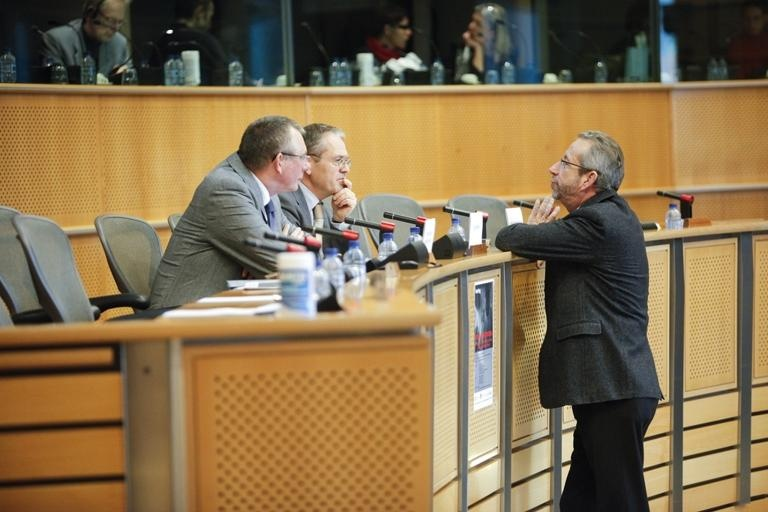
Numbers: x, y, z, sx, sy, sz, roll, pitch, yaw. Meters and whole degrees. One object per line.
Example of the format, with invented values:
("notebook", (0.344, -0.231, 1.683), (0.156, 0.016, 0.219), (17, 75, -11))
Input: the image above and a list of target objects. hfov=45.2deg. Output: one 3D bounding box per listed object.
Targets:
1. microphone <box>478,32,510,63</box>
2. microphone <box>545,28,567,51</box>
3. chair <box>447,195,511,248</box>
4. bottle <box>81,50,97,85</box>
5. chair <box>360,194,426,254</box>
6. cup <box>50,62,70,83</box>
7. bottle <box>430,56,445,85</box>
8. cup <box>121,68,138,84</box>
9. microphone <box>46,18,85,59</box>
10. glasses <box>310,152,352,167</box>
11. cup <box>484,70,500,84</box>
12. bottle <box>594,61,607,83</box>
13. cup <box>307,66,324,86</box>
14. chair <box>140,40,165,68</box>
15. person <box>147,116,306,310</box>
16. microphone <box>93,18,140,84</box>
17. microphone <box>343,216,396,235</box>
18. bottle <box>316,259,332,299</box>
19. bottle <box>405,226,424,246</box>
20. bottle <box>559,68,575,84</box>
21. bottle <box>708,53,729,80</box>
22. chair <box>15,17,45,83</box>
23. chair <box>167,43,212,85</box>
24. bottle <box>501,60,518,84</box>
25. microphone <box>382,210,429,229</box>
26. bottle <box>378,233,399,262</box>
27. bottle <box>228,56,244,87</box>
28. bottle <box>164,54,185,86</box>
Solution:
("microphone", (0.934, -1.730, 7.604), (0.276, 0.286, 0.202), (-1, 9, -31))
("microphone", (1.443, -1.827, 7.717), (0.156, 0.189, 0.048), (-4, 9, -7))
("chair", (0.669, -0.251, 6.468), (0.392, 0.495, 0.356), (-1, -5, -10))
("bottle", (-2.078, -1.320, 6.467), (0.114, 0.226, 0.217), (-6, 9, -17))
("chair", (0.040, -0.209, 6.151), (0.363, 0.473, 0.363), (-4, 1, -29))
("cup", (-2.223, -1.270, 6.325), (0.128, 0.139, 0.102), (-1, 5, 0))
("bottle", (0.431, -1.489, 7.462), (0.134, 0.173, 0.091), (-5, 9, -12))
("cup", (-1.818, -1.294, 6.594), (0.104, 0.105, 0.106), (-1, 5, 0))
("microphone", (-2.262, -1.541, 6.530), (0.308, 0.257, 0.163), (-1, -3, -42))
("glasses", (-0.314, -0.564, 5.366), (0.247, 0.095, 0.105), (-6, 9, -17))
("cup", (0.872, -1.476, 7.510), (0.133, 0.120, 0.065), (-5, 9, -8))
("bottle", (1.804, -1.555, 7.700), (0.113, 0.192, 0.140), (-1, 9, 13))
("cup", (-0.526, -1.397, 7.124), (0.127, 0.143, 0.130), (0, 10, 0))
("chair", (-1.701, -1.502, 6.803), (0.211, 0.212, 0.125), (0, 4, 3))
("person", (-0.841, -0.243, 4.894), (0.825, 0.960, 0.353), (-2, 9, 9))
("microphone", (-1.941, -1.497, 6.643), (0.146, 0.435, 0.321), (-2, 3, 29))
("microphone", (-0.093, -0.188, 5.357), (0.255, 0.078, 0.076), (12, 18, 3))
("bottle", (-0.267, 0.116, 4.031), (0.067, 0.125, 0.124), (-4, 9, -5))
("bottle", (0.158, -0.111, 4.863), (0.088, 0.159, 0.090), (-1, -1, 0))
("bottle", (1.499, -1.508, 7.651), (0.086, 0.116, 0.145), (3, 11, 36))
("bottle", (2.805, -1.608, 7.784), (0.175, 0.190, 0.172), (1, -1, -9))
("chair", (-2.468, -1.443, 6.411), (0.187, 0.454, 0.326), (-7, 9, -20))
("chair", (-1.421, -1.397, 6.689), (0.337, 0.340, 0.192), (-1, -5, 4))
("bottle", (0.991, -1.515, 7.515), (0.146, 0.172, 0.149), (-1, -4, -2))
("microphone", (0.113, -0.223, 5.598), (0.245, 0.080, 0.073), (14, 28, 8))
("bottle", (0.012, -0.055, 4.912), (0.133, 0.193, 0.127), (0, -2, 0))
("bottle", (-1.125, -1.400, 6.981), (0.124, 0.201, 0.198), (-5, 9, -8))
("bottle", (-1.531, -1.342, 6.706), (0.148, 0.184, 0.105), (-5, 9, -12))
